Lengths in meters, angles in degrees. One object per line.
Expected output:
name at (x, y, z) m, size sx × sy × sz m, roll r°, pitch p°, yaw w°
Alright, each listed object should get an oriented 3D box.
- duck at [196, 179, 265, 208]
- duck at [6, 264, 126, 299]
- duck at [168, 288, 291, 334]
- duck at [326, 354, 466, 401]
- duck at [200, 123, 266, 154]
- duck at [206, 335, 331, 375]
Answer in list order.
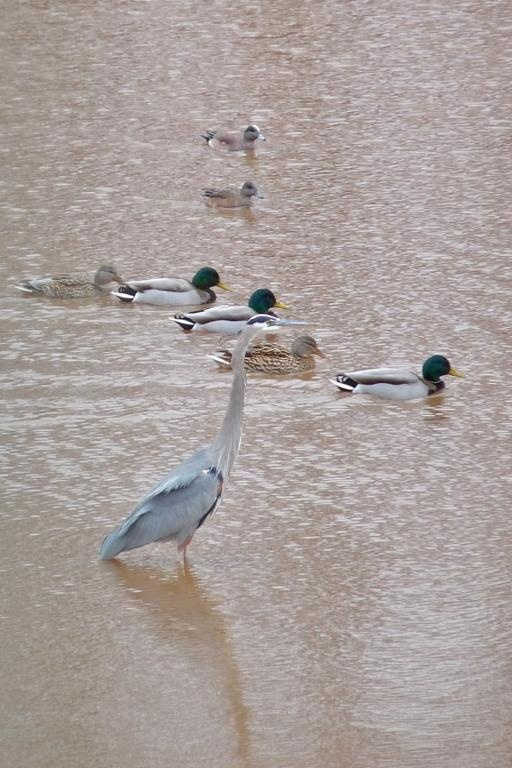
duck at (-0.442, -3.433, 16.804) m, size 1.157 × 0.416 × 0.620 m, roll 10°, pitch -69°, yaw -6°
duck at (-2.572, -1.398, 13.121) m, size 1.520 × 0.959 × 0.475 m, roll -9°, pitch -73°, yaw -17°
duck at (-0.030, -0.892, 12.279) m, size 2.157 × 0.578 × 0.766 m, roll -2°, pitch -67°, yaw 2°
duck at (1.536, -0.078, 10.599) m, size 1.661 × 0.512 × 0.585 m, roll 0°, pitch -64°, yaw -6°
duck at (-0.442, -5.095, 19.381) m, size 1.444 × 0.504 × 0.745 m, roll 10°, pitch -53°, yaw 12°
duck at (0.168, -0.341, 11.340) m, size 1.457 × 0.490 × 0.491 m, roll 3°, pitch -55°, yaw 1°
